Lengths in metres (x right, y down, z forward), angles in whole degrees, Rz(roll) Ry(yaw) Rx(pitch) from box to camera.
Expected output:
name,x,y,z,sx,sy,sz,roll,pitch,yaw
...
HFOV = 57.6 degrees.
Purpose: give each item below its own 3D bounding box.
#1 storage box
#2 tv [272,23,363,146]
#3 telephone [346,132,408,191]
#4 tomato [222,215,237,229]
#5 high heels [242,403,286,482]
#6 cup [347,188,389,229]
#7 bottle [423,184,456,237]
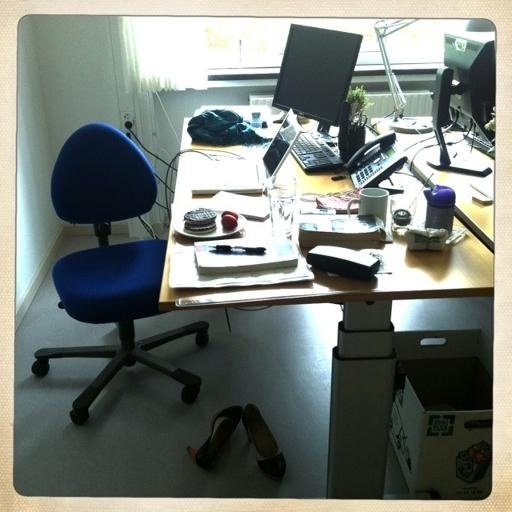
name,x,y,z,sx,sy,sz,roll,pitch,yaw
storage box,0.532,0.463,1.348,0.337,0.248,0.385,-1,31,0
tv,0.250,-0.685,1.886,0.115,0.478,0.644,-12,41,-22
telephone,0.398,-0.312,1.569,0.144,0.120,0.222,-24,24,10
tomato,-0.071,-0.088,1.232,0.028,0.040,0.021,2,-6,-4
high heels,0.023,0.571,1.432,0.066,0.072,0.232,-6,30,-16
cup,0.288,-0.131,1.273,0.113,0.128,0.078,-6,27,-1
bottle,0.444,-0.109,1.191,0.107,0.137,0.080,6,15,20
